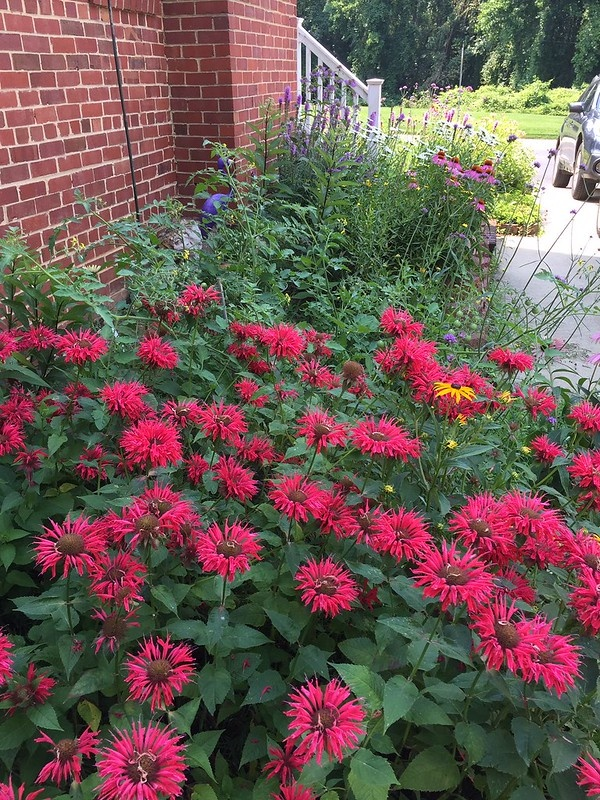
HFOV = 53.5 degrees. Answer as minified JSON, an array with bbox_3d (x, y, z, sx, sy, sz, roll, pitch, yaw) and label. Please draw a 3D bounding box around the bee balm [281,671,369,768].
[{"bbox_3d":[0.038,0.433,0.845,0.154,0.058,0.149,-2,38,-3],"label":"bee balm"}]
